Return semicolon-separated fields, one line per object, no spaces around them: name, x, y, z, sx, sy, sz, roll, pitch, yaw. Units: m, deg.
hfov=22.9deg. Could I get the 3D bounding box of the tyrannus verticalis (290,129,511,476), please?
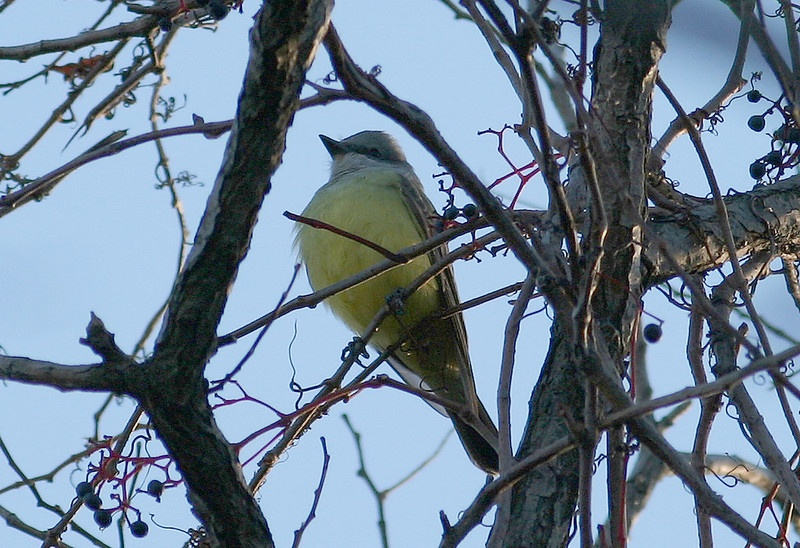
tyrannus verticalis;-0.556;0.124;10.002;0.909;2.267;1.846;0;-91;8
